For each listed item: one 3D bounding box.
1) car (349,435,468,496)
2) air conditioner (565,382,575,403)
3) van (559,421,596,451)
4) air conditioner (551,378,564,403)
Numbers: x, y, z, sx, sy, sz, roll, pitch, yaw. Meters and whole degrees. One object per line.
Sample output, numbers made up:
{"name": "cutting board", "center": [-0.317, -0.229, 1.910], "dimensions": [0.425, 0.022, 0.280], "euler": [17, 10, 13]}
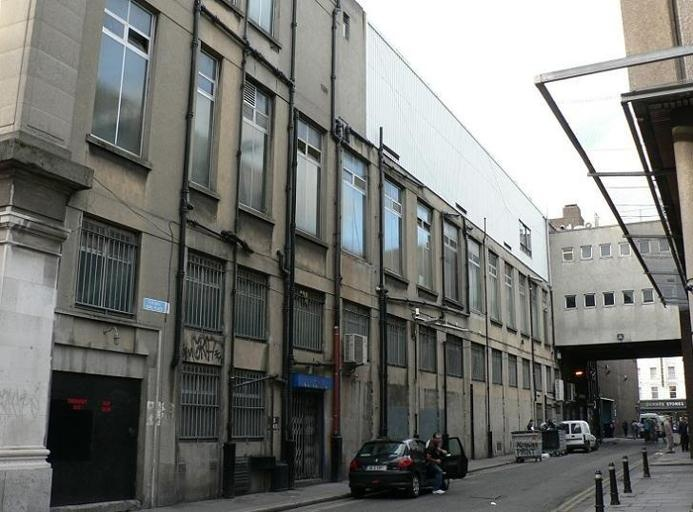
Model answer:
{"name": "car", "center": [1.865, 6.520, 23.048], "dimensions": [1.895, 1.390, 3.045], "euler": [-8, -16, 30]}
{"name": "air conditioner", "center": [17.393, 10.613, 56.817], "dimensions": [0.996, 1.811, 1.639], "euler": [-3, -9, 19]}
{"name": "van", "center": [14.072, 10.997, 44.186], "dimensions": [1.553, 1.669, 2.878], "euler": [-4, -6, 29]}
{"name": "air conditioner", "center": [15.874, 10.012, 54.566], "dimensions": [0.670, 1.623, 1.447], "euler": [-12, -20, 27]}
